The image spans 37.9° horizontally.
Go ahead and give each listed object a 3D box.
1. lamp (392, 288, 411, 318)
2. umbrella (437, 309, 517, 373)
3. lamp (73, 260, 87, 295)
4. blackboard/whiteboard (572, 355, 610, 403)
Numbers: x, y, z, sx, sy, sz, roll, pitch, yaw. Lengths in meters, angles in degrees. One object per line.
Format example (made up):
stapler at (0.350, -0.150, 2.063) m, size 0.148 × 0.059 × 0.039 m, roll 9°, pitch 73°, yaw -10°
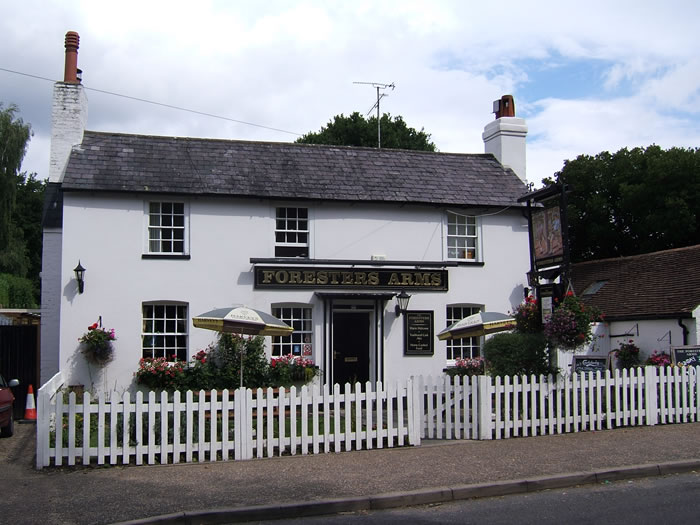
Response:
lamp at (1.567, 1.207, 30.014) m, size 0.439 × 0.807 × 0.449 m, roll 2°, pitch 4°, yaw 3°
umbrella at (3.359, 1.696, 26.373) m, size 1.870 × 0.763 × 0.750 m, roll 4°, pitch 4°, yaw 8°
lamp at (-7.516, 0.413, 28.345) m, size 0.333 × 0.903 × 0.268 m, roll 0°, pitch 4°, yaw -31°
blackboard/whiteboard at (6.458, 3.119, 27.171) m, size 0.764 × 1.045 × 0.095 m, roll -2°, pitch -29°, yaw 28°
